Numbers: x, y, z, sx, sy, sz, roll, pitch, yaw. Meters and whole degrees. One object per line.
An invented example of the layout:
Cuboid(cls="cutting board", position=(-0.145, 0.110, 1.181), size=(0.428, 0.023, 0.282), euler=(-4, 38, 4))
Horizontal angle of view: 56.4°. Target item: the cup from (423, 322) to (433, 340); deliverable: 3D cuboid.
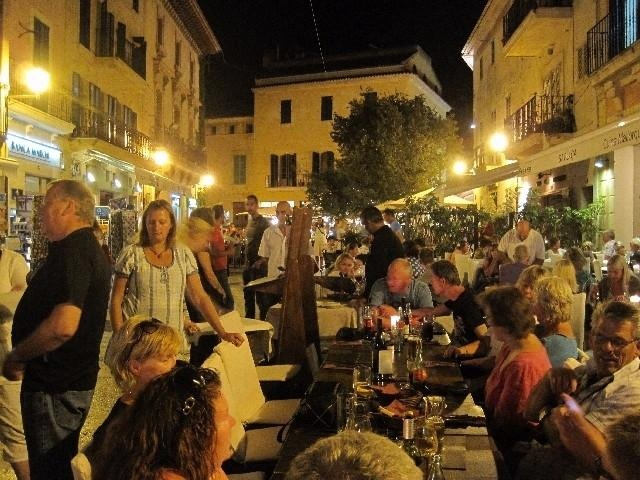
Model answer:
Cuboid(cls="cup", position=(1.191, 1.017, 6.607), size=(0.144, 0.264, 0.163), euler=(0, -5, 8))

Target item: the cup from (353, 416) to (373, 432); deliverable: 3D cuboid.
Cuboid(cls="cup", position=(0.282, 1.184, 3.823), size=(0.075, 0.095, 0.153), euler=(-1, -3, 43))

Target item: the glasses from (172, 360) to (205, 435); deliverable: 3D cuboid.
Cuboid(cls="glasses", position=(-0.647, 0.739, 2.948), size=(0.058, 0.239, 0.167), euler=(4, 7, -29))

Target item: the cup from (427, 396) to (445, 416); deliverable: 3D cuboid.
Cuboid(cls="cup", position=(0.769, 1.114, 3.997), size=(0.107, 0.138, 0.118), euler=(-1, -6, -4))

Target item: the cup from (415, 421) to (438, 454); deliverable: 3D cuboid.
Cuboid(cls="cup", position=(0.667, 1.242, 3.723), size=(0.149, 0.177, 0.240), euler=(1, -3, 11))

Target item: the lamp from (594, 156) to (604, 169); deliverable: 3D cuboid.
Cuboid(cls="lamp", position=(7.885, -2.178, 16.791), size=(0.221, 0.234, 0.256), euler=(15, -34, 49))

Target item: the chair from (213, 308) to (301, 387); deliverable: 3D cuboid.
Cuboid(cls="chair", position=(-0.652, 1.183, 6.782), size=(0.762, 1.105, 1.027), euler=(-1, 5, -1))

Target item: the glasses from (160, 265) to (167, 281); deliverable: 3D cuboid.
Cuboid(cls="glasses", position=(-1.422, 0.310, 5.408), size=(0.069, 0.110, 0.030), euler=(3, 10, 45))

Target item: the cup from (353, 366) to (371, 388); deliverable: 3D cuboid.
Cuboid(cls="cup", position=(0.331, 1.072, 4.652), size=(0.137, 0.155, 0.146), euler=(0, -5, 0))
